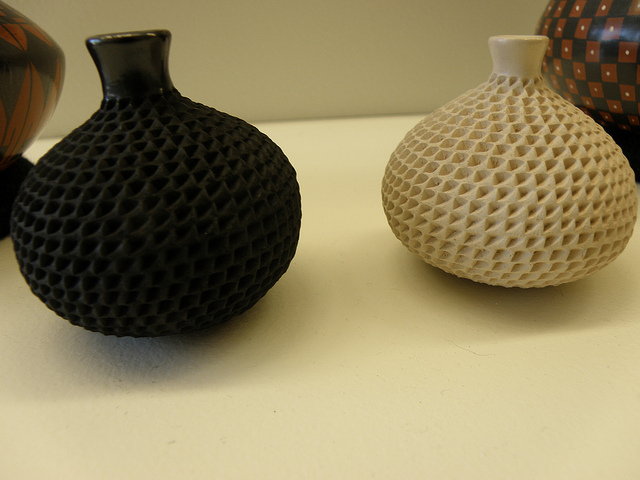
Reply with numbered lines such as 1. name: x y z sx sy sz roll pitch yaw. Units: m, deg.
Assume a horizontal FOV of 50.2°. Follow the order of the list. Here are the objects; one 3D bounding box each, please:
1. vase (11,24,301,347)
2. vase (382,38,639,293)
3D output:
1. vase: -0.319 -0.109 1.149 0.562 0.461 0.489 -14 28 -27
2. vase: 0.319 -0.126 1.125 0.376 0.343 0.323 -15 39 -13
